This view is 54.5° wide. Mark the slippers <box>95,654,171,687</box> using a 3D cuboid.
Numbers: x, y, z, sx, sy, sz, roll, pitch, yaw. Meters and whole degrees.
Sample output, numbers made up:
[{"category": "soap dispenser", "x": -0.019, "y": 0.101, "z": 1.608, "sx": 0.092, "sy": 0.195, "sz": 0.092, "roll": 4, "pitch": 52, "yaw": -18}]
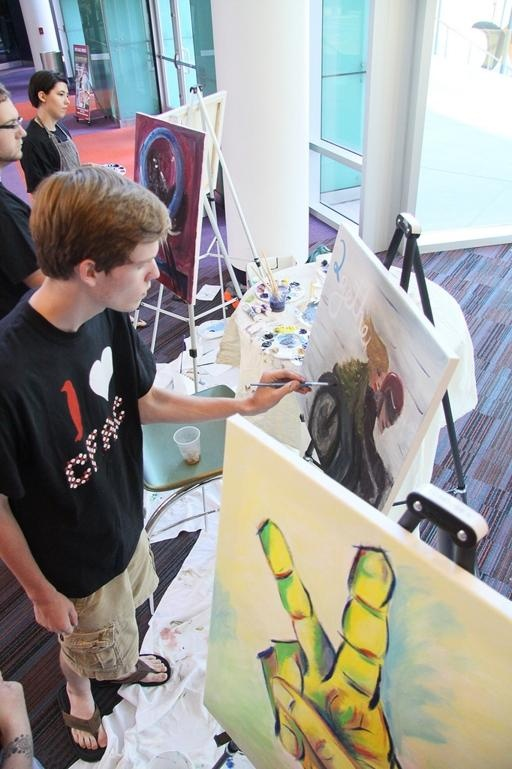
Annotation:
[{"category": "slippers", "x": -0.377, "y": 0.877, "z": 1.542, "sx": 0.236, "sy": 0.059, "sz": 0.105, "roll": 1, "pitch": 75, "yaw": 6}]

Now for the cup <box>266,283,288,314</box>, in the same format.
[{"category": "cup", "x": 0.080, "y": -0.340, "z": 2.002, "sx": 0.064, "sy": 0.110, "sz": 0.068, "roll": -2, "pitch": 43, "yaw": 2}]

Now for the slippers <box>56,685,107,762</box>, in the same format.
[{"category": "slippers", "x": -0.525, "y": 0.976, "z": 1.468, "sx": 0.081, "sy": 0.061, "sz": 0.226, "roll": -19, "pitch": 56, "yaw": -22}]

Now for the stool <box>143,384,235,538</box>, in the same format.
[{"category": "stool", "x": -0.210, "y": 0.235, "z": 1.470, "sx": 0.272, "sy": 0.475, "sz": 0.264, "roll": -20, "pitch": 59, "yaw": -5}]
